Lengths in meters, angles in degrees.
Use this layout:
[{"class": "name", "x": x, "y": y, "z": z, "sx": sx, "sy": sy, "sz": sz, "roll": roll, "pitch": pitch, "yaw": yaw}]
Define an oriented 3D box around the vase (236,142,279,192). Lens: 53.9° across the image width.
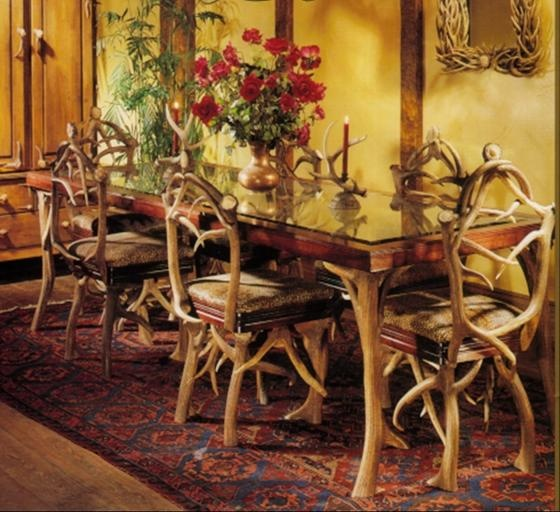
[{"class": "vase", "x": -0.079, "y": -0.393, "z": 2.417, "sx": 0.223, "sy": 0.197, "sz": 0.213, "roll": 11, "pitch": 27, "yaw": 22}]
